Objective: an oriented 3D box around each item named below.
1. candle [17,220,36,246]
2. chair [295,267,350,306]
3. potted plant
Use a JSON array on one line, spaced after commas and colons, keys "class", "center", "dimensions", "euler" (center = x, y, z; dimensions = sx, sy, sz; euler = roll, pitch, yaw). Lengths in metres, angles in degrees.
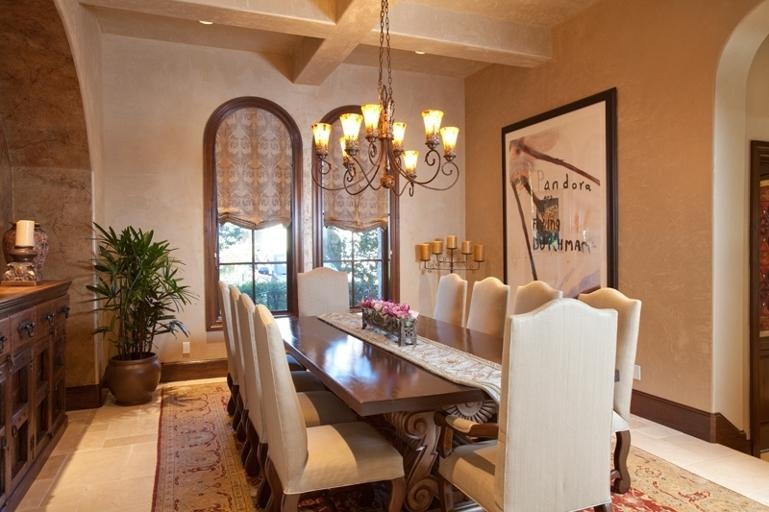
[{"class": "candle", "center": [-3.254, -0.202, 4.752], "dimensions": [0.159, 0.229, 0.229], "euler": [-8, 12, -34]}, {"class": "chair", "center": [-0.753, 0.360, 6.203], "dimensions": [0.423, 0.604, 0.490], "euler": [1, -3, -18]}, {"class": "potted plant", "center": [-2.780, 0.589, 5.970], "dimensions": [1.030, 1.972, 1.131], "euler": [-3, 11, -15]}]
